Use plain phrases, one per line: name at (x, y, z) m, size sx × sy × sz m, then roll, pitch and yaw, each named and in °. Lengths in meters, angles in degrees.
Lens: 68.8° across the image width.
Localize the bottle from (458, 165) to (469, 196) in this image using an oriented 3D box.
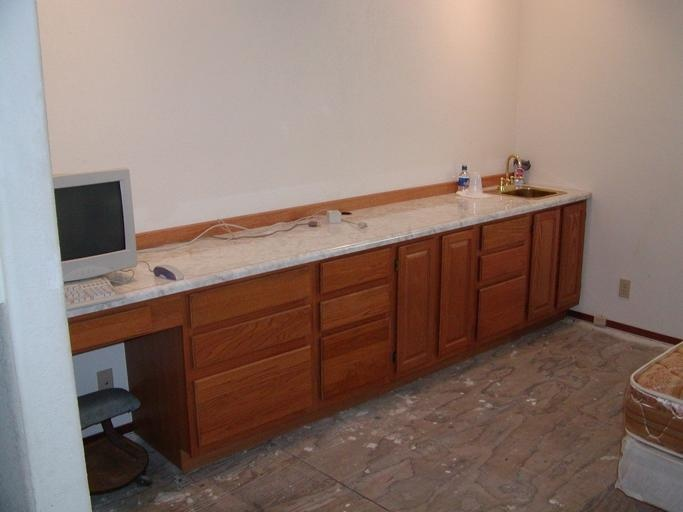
bottle at (0.958, -0.604, 3.911) m, size 0.092 × 0.197 × 0.166 m, roll 1°, pitch 20°, yaw 14°

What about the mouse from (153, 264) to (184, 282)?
mouse at (-0.780, 0.074, 2.229) m, size 0.161 × 0.054 × 0.055 m, roll 9°, pitch 23°, yaw 32°

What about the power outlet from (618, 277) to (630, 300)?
power outlet at (2.183, 0.252, 3.843) m, size 0.030 × 0.156 × 0.094 m, roll -18°, pitch 24°, yaw -33°

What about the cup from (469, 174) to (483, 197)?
cup at (1.042, -0.556, 3.868) m, size 0.111 × 0.153 × 0.242 m, roll 1°, pitch 20°, yaw 14°

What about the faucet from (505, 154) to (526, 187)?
faucet at (1.464, -0.711, 4.175) m, size 0.272 × 0.262 × 0.187 m, roll -15°, pitch 14°, yaw -43°

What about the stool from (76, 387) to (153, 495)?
stool at (-1.115, 0.845, 2.419) m, size 0.282 × 0.421 × 0.494 m, roll -15°, pitch 22°, yaw -27°

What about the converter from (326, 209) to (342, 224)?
converter at (-0.051, -0.238, 3.127) m, size 0.103 × 0.094 × 0.074 m, roll -1°, pitch 22°, yaw -9°

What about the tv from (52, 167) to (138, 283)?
tv at (-0.987, -0.117, 1.998) m, size 0.238 × 0.413 × 0.434 m, roll 12°, pitch 18°, yaw 40°

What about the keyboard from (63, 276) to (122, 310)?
keyboard at (-1.047, 0.144, 2.081) m, size 0.188 × 0.047 × 0.263 m, roll -14°, pitch 22°, yaw -27°
